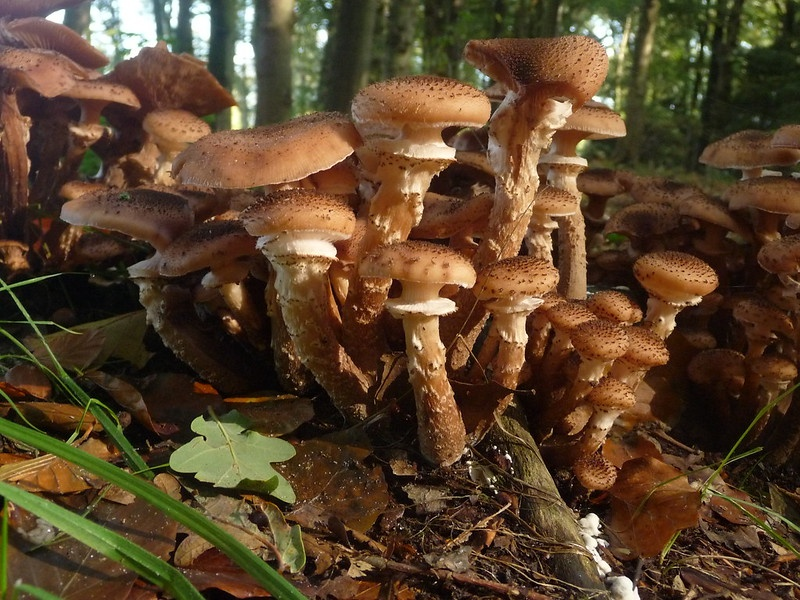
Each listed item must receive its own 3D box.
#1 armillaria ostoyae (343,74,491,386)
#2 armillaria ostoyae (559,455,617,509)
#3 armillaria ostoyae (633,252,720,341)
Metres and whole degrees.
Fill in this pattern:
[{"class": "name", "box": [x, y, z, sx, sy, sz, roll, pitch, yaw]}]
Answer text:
[{"class": "armillaria ostoyae", "box": [0.045, -0.326, 3.894, 0.628, 1.482, 0.520, 2, 22, -8]}, {"class": "armillaria ostoyae", "box": [0.959, 0.918, 4.054, 0.258, 0.254, 0.236, 8, 19, 10]}, {"class": "armillaria ostoyae", "box": [1.341, -0.005, 4.023, 0.276, 0.462, 0.275, -5, 23, -25]}]
